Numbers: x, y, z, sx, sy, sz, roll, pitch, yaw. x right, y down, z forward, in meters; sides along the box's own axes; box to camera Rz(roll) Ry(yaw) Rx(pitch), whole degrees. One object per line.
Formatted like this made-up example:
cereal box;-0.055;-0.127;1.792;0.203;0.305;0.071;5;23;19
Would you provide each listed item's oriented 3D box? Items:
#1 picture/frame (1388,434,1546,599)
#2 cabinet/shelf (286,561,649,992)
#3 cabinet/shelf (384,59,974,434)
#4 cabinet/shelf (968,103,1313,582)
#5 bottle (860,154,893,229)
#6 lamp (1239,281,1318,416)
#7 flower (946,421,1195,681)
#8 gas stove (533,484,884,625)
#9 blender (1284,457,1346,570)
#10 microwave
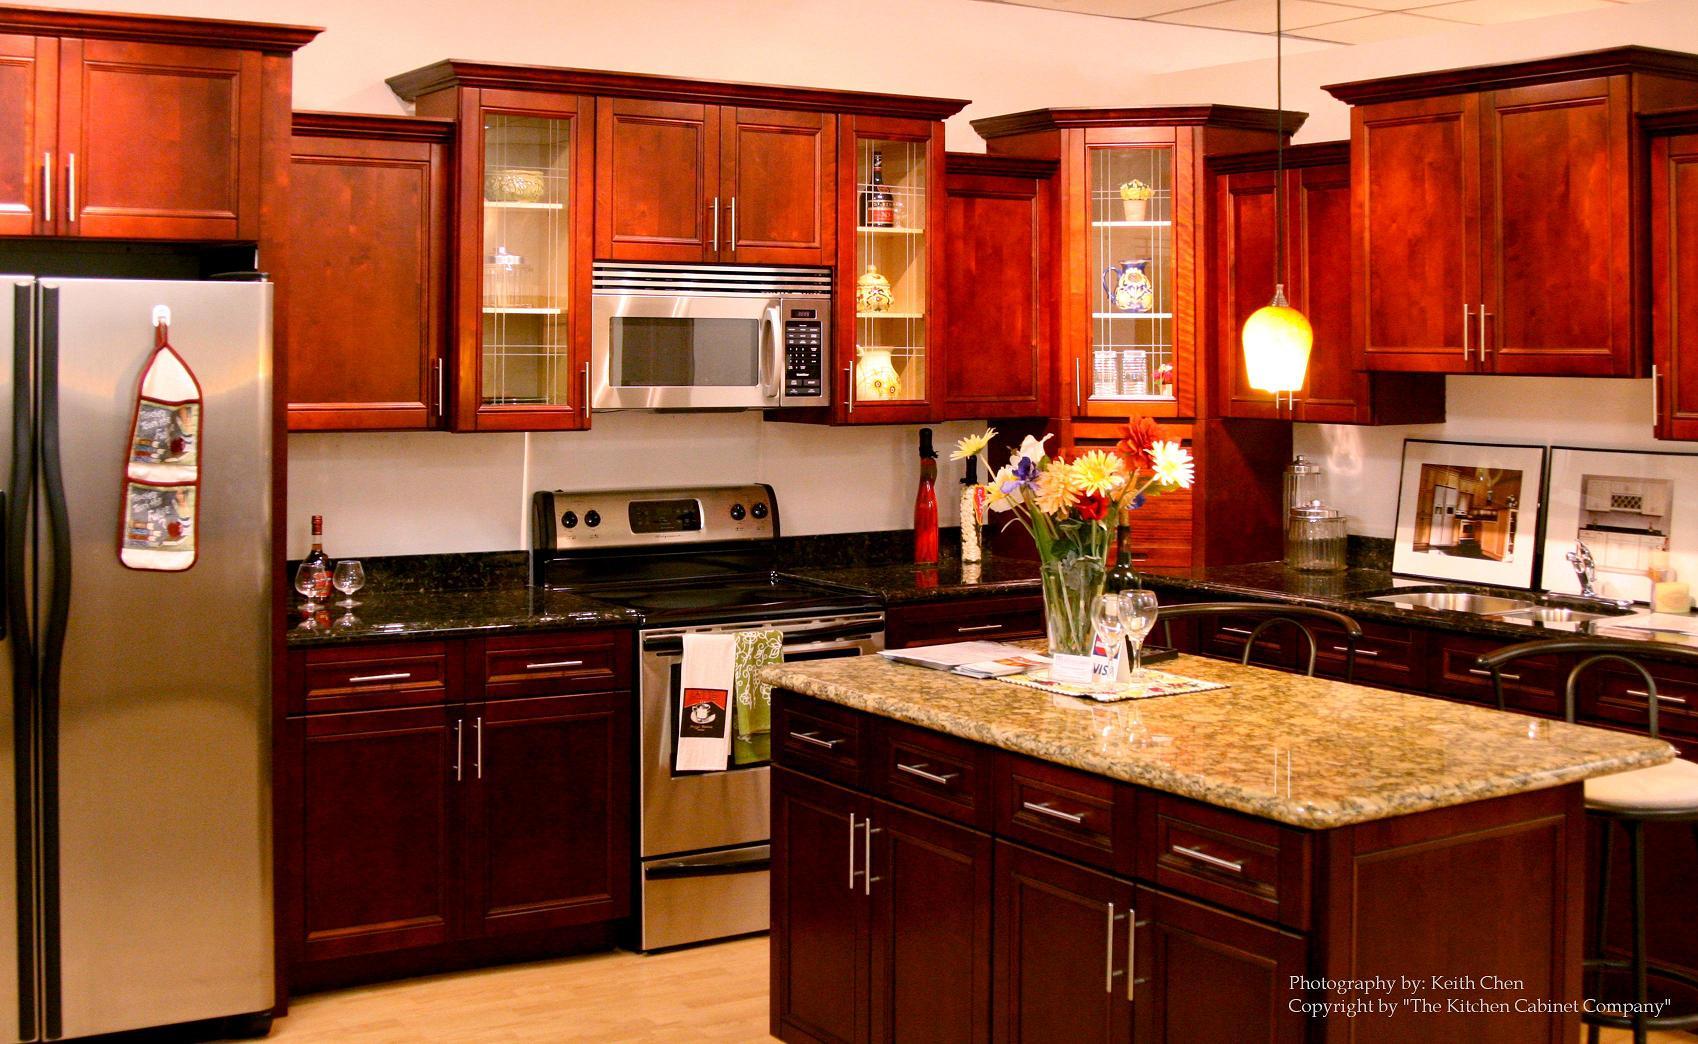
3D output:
picture/frame;2.627;-0.036;5.740;0.012;0.580;0.627;3;4;-39
cabinet/shelf;-1.662;1.013;5.278;1.312;1.266;1.004;2;-7;-40
cabinet/shelf;-0.727;-1.089;5.828;2.443;1.405;0.740;-7;12;-40
cabinet/shelf;1.379;-0.812;6.467;0.824;2.289;1.430;-19;28;-19
bottle;0.110;-1.411;5.773;0.195;0.304;0.185;5;20;-2
lamp;1.439;-0.585;4.509;0.254;0.375;0.252;-6;10;-27
flower;0.682;0.095;4.065;0.673;0.646;0.674;-1;12;-5
gas stove;-0.680;0.117;5.470;0.873;0.408;0.762;-2;3;-31
blender;2.114;-0.039;6.117;0.283;0.426;0.437;-7;16;4
microwave;-0.505;-0.758;5.714;1.041;0.546;0.611;3;8;17
